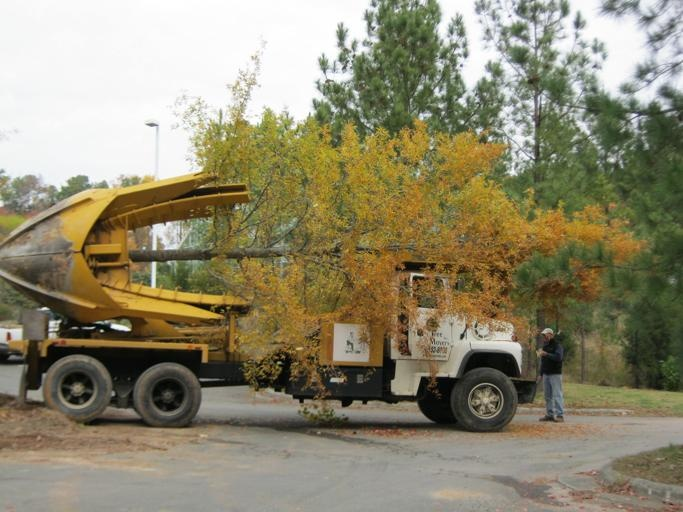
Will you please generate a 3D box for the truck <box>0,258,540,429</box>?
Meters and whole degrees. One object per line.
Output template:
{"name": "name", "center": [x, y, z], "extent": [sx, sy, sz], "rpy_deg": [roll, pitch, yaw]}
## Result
{"name": "truck", "center": [-1.312, 2.154, 18.442], "extent": [11.598, 3.633, 4.100], "rpy_deg": [1, -4, -7]}
